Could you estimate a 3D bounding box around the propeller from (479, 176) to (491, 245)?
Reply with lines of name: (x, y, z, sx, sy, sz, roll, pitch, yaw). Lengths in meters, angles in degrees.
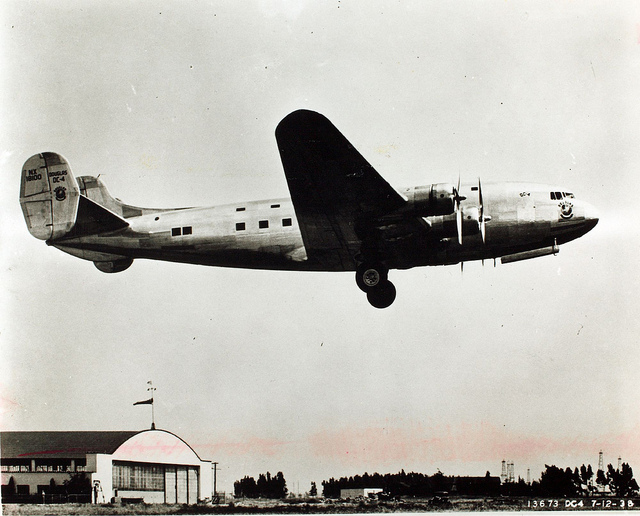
propeller: (3.301, -1.004, 23.702, 0.237, 1.033, 0.887, -10, -30, 8)
